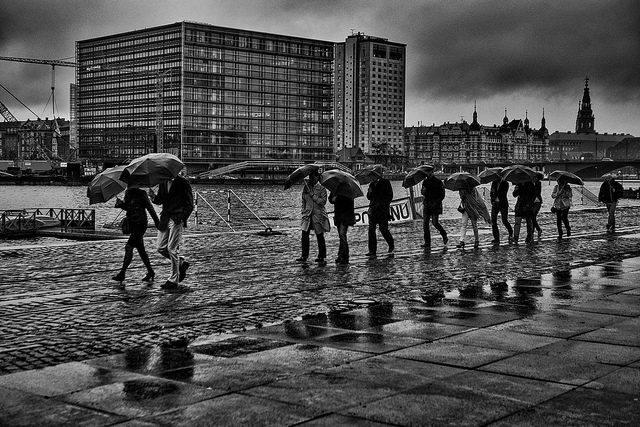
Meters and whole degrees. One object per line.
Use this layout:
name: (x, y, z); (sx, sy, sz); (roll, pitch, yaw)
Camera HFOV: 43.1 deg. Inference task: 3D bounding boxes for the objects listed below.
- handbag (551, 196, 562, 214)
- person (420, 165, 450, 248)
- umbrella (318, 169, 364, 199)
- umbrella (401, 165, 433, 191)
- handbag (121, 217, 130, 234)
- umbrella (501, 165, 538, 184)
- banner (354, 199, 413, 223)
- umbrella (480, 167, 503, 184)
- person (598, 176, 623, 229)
handbag: (6.993, -0.257, 23.941); (0.169, 0.448, 0.254); (14, 6, 0)
person: (2.931, -0.179, 20.751); (0.708, 2.093, 1.129); (0, 6, 7)
umbrella: (0.515, -0.576, 18.015); (0.960, 0.289, 0.925); (5, 4, -37)
umbrella: (2.578, -1.015, 21.119); (0.644, 0.423, 0.644); (-31, 2, 19)
handbag: (-3.535, 0.216, 14.892); (0.217, 0.265, 0.100); (0, -11, 4)
umbrella: (5.348, -1.042, 21.801); (0.910, 0.472, 1.246); (1, 7, 13)
banner: (2.185, 0.006, 28.192); (0.486, 0.817, 4.192); (3, 8, 31)
umbrella: (4.579, -1.011, 21.993); (0.498, 0.221, 0.505); (2, 32, 47)
person: (8.999, -0.387, 25.162); (0.628, 1.653, 1.044); (1, 7, 18)
